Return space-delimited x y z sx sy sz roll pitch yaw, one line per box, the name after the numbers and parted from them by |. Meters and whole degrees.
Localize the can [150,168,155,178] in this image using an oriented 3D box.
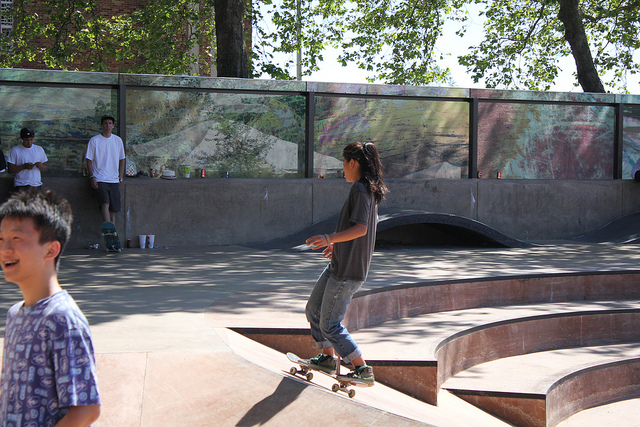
-3.732 -0.897 15.705 0.097 0.193 0.102 0 4 0 | can

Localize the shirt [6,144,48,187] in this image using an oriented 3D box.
-5.940 -0.955 14.359 0.733 0.848 0.399 -2 5 -23 | shirt

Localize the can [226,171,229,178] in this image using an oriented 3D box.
-2.134 -0.891 16.158 0.107 0.181 0.106 2 -3 0 | can

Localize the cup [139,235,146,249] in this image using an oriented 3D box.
-3.819 0.602 15.207 0.134 0.266 0.100 -1 5 -14 | cup

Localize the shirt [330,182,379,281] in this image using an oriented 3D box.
0.406 0.233 8.813 0.571 1.223 0.306 0 5 1 | shirt

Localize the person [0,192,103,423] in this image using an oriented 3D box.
-2.528 0.865 6.573 0.878 2.101 0.387 0 5 -9 | person

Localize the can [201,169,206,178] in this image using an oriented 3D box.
-2.650 -0.902 16.057 0.109 0.169 0.069 -1 5 -21 | can

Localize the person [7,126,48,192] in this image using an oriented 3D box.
-5.959 -1.099 14.500 0.721 1.272 0.795 0 4 1 | person

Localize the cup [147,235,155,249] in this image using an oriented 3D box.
-3.643 0.603 15.297 0.089 0.268 0.158 4 6 37 | cup

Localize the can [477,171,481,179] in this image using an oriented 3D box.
4.009 -0.966 17.889 0.057 0.172 0.168 3 5 27 | can

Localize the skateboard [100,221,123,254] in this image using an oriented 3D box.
-4.268 0.476 14.523 0.382 0.634 0.407 -1 4 -11 | skateboard

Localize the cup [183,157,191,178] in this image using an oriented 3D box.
-3.006 -1.023 15.952 0.167 0.420 0.096 -1 5 -11 | cup

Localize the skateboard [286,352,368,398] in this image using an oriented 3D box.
0.083 1.974 8.749 0.999 0.459 0.489 1 4 6 | skateboard

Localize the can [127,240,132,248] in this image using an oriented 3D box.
-4.096 0.661 15.099 0.125 0.183 0.123 3 2 0 | can

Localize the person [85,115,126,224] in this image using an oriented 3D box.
-4.416 -0.906 14.636 0.354 2.161 0.693 4 6 40 | person
